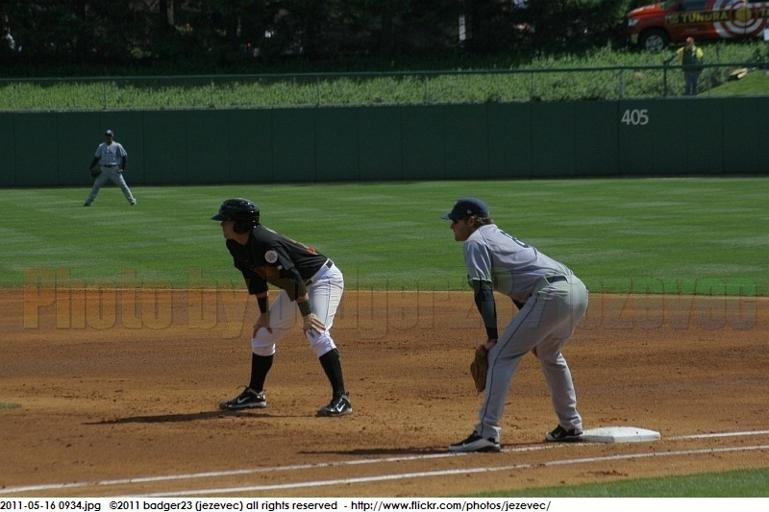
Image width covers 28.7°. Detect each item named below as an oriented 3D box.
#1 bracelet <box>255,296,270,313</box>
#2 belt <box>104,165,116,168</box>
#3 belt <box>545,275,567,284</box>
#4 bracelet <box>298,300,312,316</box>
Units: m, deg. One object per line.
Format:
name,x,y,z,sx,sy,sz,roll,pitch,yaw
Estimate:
bracelet,-2.661,1.075,33.224,0.373,0.480,0.342,-2,-18,-2
belt,-8.485,-2.827,46.729,0.323,0.112,0.031,-6,16,-16
belt,3.652,0.461,31.959,0.363,0.167,0.257,-5,11,-15
bracelet,-1.714,1.094,32.744,0.282,0.354,0.260,-24,4,-9
